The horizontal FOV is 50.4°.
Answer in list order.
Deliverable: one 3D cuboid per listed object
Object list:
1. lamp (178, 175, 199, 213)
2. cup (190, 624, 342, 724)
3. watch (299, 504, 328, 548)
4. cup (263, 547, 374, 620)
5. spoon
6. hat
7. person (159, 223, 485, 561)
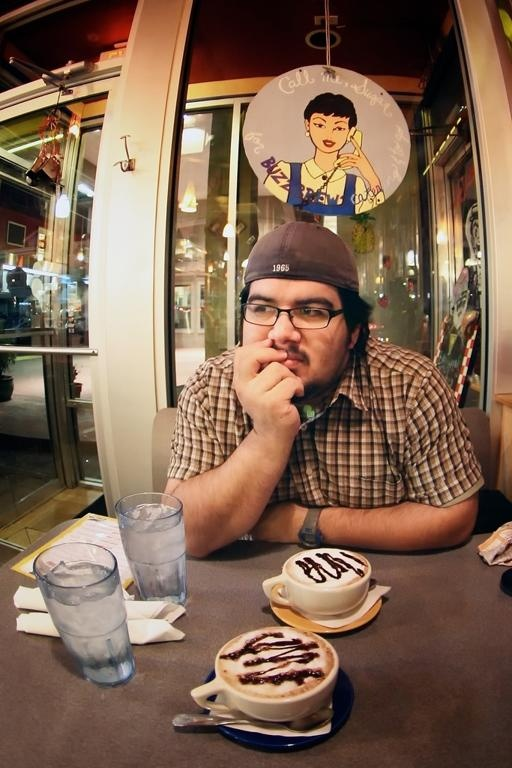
[{"bbox_3d":[-0.189,-0.521,1.522,0.027,0.091,0.095,-9,12,-34],"label":"lamp"},{"bbox_3d":[0.021,0.331,0.625,0.110,0.043,0.088,-7,10,-16],"label":"cup"},{"bbox_3d":[0.112,0.290,1.099,0.041,0.071,0.071,-4,-20,16],"label":"watch"},{"bbox_3d":[0.097,0.292,0.805,0.108,0.046,0.088,-3,-1,2],"label":"cup"},{"bbox_3d":[0.002,0.368,0.601,0.173,0.026,0.035,-4,-8,1],"label":"spoon"},{"bbox_3d":[0.103,-0.265,1.137,0.172,0.090,0.161,5,10,-8],"label":"hat"},{"bbox_3d":[0.172,0.021,1.181,0.702,0.706,0.419,-2,2,21],"label":"person"}]
